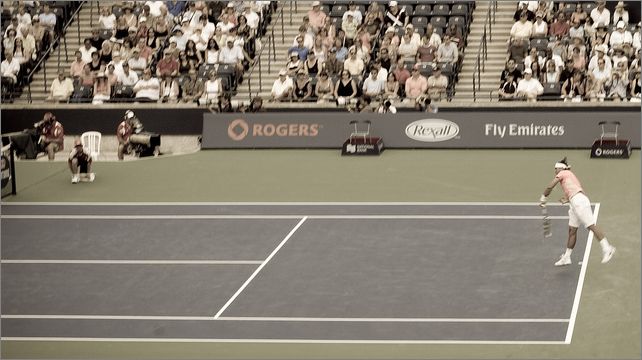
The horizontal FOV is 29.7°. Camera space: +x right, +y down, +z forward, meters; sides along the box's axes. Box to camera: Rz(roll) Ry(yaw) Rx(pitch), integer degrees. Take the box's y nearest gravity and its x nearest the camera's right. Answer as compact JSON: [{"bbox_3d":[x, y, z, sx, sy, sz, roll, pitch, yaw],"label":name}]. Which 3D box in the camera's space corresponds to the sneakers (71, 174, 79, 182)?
[{"bbox_3d":[-10.053,-0.052,48.988,0.246,0.331,0.113,2,-6,-15],"label":"sneakers"}]

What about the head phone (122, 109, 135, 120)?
[{"bbox_3d":[-8.159,-2.711,50.746,0.413,0.108,0.409,-13,27,-14],"label":"head phone"}]

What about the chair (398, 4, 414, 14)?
[{"bbox_3d":[3.851,-7.832,55.037,0.518,0.229,0.507,-2,21,-5],"label":"chair"}]

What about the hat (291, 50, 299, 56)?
[{"bbox_3d":[-1.254,-5.581,53.076,0.361,0.225,0.445,-2,11,0],"label":"hat"}]

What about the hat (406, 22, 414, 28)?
[{"bbox_3d":[3.823,-6.849,53.327,0.465,0.243,0.262,0,9,-33],"label":"hat"}]

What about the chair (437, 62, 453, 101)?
[{"bbox_3d":[5.364,-4.284,52.072,0.701,1.529,1.512,-1,11,6],"label":"chair"}]

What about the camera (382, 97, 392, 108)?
[{"bbox_3d":[2.713,-3.212,50.737,0.291,0.360,0.372,6,13,10],"label":"camera"}]

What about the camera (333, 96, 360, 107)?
[{"bbox_3d":[0.961,-3.309,51.182,0.742,0.438,0.267,5,0,25],"label":"camera"}]

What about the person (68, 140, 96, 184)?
[{"bbox_3d":[-9.875,-0.755,49.164,0.992,1.735,0.748,-4,11,-14],"label":"person"}]

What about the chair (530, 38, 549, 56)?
[{"bbox_3d":[9.474,-5.801,52.409,0.682,0.868,0.818,4,13,6],"label":"chair"}]

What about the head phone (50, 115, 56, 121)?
[{"bbox_3d":[-11.550,-2.632,51.482,0.182,0.292,0.294,2,1,2],"label":"head phone"}]

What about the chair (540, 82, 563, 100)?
[{"bbox_3d":[9.657,-3.735,50.839,0.845,0.685,0.678,0,11,11],"label":"chair"}]

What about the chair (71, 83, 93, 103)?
[{"bbox_3d":[-10.685,-3.756,53.588,0.779,0.899,1.047,3,20,4],"label":"chair"}]

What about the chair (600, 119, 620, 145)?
[{"bbox_3d":[11.713,-1.956,49.318,0.969,1.231,0.933,1,12,16],"label":"chair"}]

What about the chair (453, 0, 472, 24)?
[{"bbox_3d":[6.201,-7.620,54.394,0.836,1.007,1.069,3,1,8],"label":"chair"}]

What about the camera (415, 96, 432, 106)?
[{"bbox_3d":[4.132,-3.318,50.737,0.400,0.155,0.397,-3,35,-3],"label":"camera"}]

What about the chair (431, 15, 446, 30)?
[{"bbox_3d":[5.237,-7.095,54.363,0.692,0.572,0.662,1,1,16],"label":"chair"}]

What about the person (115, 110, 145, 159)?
[{"bbox_3d":[-8.228,-1.875,51.115,1.009,2.097,0.587,-4,11,-10],"label":"person"}]

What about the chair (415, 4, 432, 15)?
[{"bbox_3d":[4.552,-7.808,54.943,0.646,0.527,0.618,2,-6,4],"label":"chair"}]
